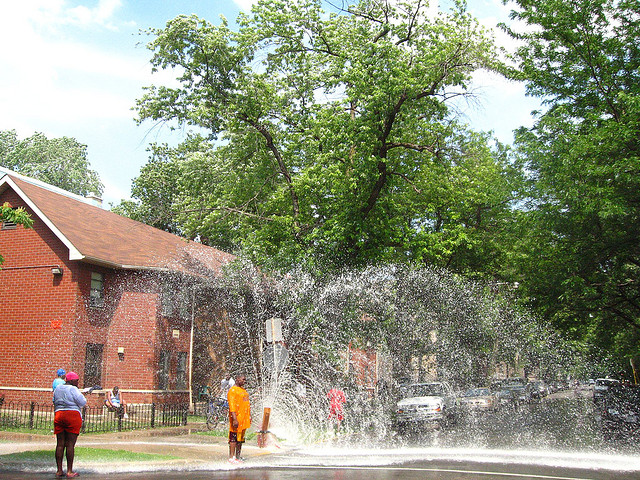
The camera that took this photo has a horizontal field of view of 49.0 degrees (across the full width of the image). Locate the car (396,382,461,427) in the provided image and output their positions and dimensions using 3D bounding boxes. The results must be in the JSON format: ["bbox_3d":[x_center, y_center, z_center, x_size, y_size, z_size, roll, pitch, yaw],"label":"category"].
[{"bbox_3d":[5.161,7.578,32.635,3.222,2.049,1.759,10,-22,-30],"label":"car"}]

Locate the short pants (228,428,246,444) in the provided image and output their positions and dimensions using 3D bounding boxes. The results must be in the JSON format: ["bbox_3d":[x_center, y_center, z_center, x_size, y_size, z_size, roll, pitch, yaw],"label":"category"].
[{"bbox_3d":[-2.705,6.452,22.917,0.487,0.448,0.336,1,-18,-9],"label":"short pants"}]

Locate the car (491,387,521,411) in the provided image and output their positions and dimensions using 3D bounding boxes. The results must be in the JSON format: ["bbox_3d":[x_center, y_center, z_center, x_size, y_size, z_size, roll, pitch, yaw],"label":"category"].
[{"bbox_3d":[12.143,10.456,45.543,1.469,1.331,2.631,-3,-4,13],"label":"car"}]

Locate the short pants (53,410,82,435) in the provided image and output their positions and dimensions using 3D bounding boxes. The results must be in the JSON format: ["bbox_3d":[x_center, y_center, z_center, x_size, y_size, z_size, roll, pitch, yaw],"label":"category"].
[{"bbox_3d":[-7.642,5.589,21.632,0.894,0.819,0.666,0,-6,5],"label":"short pants"}]

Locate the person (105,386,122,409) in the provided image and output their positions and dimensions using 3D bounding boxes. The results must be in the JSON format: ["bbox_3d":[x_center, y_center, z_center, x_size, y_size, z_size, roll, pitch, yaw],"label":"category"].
[{"bbox_3d":[-9.760,7.696,33.885,0.779,1.041,1.013,10,-24,-29],"label":"person"}]

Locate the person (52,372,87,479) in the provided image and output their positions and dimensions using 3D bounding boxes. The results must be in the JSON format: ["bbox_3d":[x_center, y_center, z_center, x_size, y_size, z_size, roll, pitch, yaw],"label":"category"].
[{"bbox_3d":[-7.793,5.733,21.761,0.940,3.272,1.362,4,-19,-19],"label":"person"}]

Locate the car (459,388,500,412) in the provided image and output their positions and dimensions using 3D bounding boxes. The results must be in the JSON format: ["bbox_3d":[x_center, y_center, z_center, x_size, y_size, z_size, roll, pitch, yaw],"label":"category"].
[{"bbox_3d":[9.107,9.159,40.593,1.520,1.495,3.493,-13,-22,30],"label":"car"}]

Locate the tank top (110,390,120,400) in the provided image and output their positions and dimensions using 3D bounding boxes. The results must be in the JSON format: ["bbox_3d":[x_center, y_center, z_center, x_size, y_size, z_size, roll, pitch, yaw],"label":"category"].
[{"bbox_3d":[-9.921,7.557,34.101,0.374,0.549,0.952,3,-20,-16],"label":"tank top"}]

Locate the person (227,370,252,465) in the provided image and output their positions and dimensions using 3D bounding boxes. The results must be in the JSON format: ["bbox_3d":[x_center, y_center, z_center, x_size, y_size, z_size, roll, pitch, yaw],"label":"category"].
[{"bbox_3d":[-2.694,5.907,23.253,0.733,2.986,1.183,1,-18,-7],"label":"person"}]
